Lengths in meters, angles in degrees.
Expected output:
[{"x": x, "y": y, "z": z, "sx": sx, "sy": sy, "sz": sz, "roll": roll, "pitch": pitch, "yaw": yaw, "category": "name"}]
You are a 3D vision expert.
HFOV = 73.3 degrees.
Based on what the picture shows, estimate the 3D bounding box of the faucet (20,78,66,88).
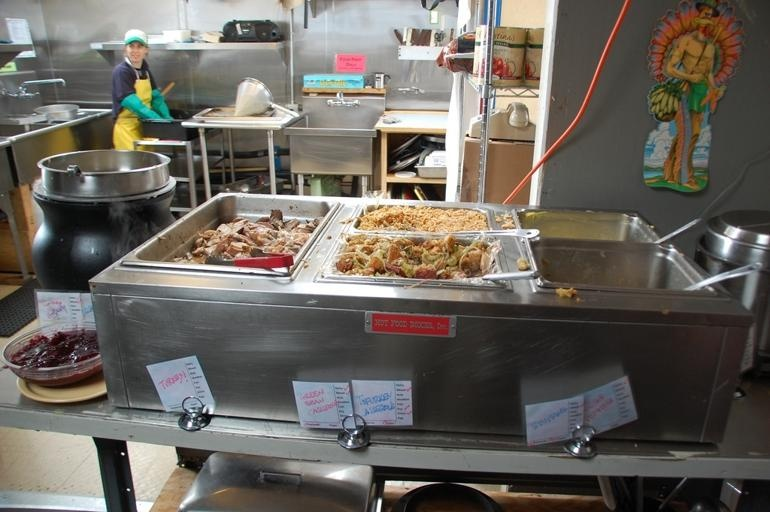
[{"x": -3.705, "y": -1.874, "z": 5.574, "sx": 0.369, "sy": 0.090, "sz": 0.469, "roll": -5, "pitch": 19, "yaw": -11, "category": "faucet"}]

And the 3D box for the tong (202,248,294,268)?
[{"x": -0.416, "y": 0.011, "z": 1.626, "sx": 0.215, "sy": 0.033, "sz": 0.107, "roll": 2, "pitch": 12, "yaw": 7, "category": "tong"}]

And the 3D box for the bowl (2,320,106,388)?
[{"x": -1.077, "y": 0.315, "z": 1.694, "sx": 0.272, "sy": 0.087, "sz": 0.252, "roll": 1, "pitch": 16, "yaw": 0, "category": "bowl"}]

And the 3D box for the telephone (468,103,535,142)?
[{"x": 0.629, "y": -0.682, "z": 2.656, "sx": 0.390, "sy": 0.162, "sz": 0.359, "roll": -3, "pitch": 16, "yaw": -12, "category": "telephone"}]

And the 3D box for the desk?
[{"x": -1.514, "y": -0.975, "z": 5.171, "sx": 1.024, "sy": 0.629, "sz": 0.980, "roll": -9, "pitch": 13, "yaw": -28, "category": "desk"}]

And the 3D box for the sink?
[{"x": -0.526, "y": -1.076, "z": 5.016, "sx": 0.651, "sy": 0.328, "sz": 0.605, "roll": 2, "pitch": 19, "yaw": 6, "category": "sink"}]

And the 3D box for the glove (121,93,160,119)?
[{"x": -2.289, "y": -1.407, "z": 4.859, "sx": 0.297, "sy": 0.227, "sz": 0.475, "roll": -14, "pitch": 23, "yaw": -31, "category": "glove"}]

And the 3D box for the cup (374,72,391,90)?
[{"x": -0.037, "y": -1.905, "z": 5.613, "sx": 0.183, "sy": 0.181, "sz": 0.289, "roll": 0, "pitch": 19, "yaw": 4, "category": "cup"}]

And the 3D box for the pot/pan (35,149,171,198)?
[{"x": -1.064, "y": -0.325, "z": 1.973, "sx": 0.434, "sy": 0.118, "sz": 0.449, "roll": 23, "pitch": 30, "yaw": 37, "category": "pot/pan"}]

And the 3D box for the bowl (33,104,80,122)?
[{"x": -3.168, "y": -1.379, "z": 4.995, "sx": 0.374, "sy": 0.107, "sz": 0.344, "roll": 3, "pitch": 26, "yaw": -2, "category": "bowl"}]

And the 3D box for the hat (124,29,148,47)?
[{"x": -2.411, "y": -2.107, "z": 5.004, "sx": 0.192, "sy": 0.156, "sz": 0.233, "roll": -8, "pitch": 20, "yaw": -17, "category": "hat"}]
